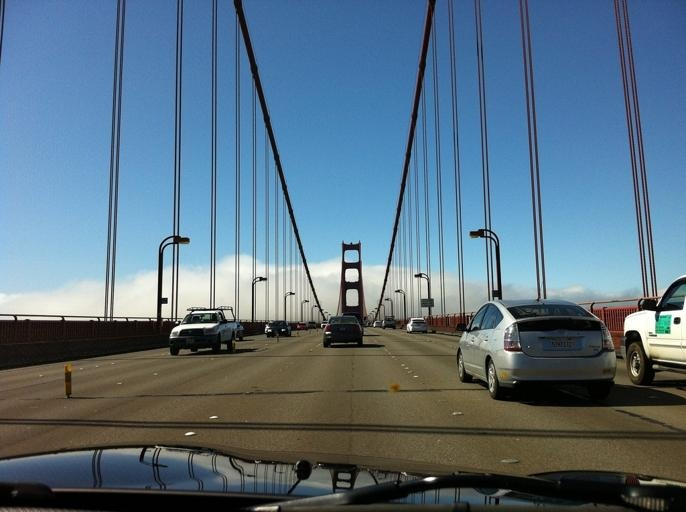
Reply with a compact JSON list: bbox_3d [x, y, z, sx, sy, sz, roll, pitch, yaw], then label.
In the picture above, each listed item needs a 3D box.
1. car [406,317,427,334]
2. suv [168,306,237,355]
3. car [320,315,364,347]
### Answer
[{"bbox_3d":[7.677,7.032,57.896,1.547,1.442,2.297,0,-5,-7],"label":"car"},{"bbox_3d":[-6.077,3.275,25.025,2.096,1.938,4.003,-1,-5,3],"label":"suv"},{"bbox_3d":[0.065,3.847,29.052,1.847,1.612,2.505,-1,-4,3],"label":"car"}]
